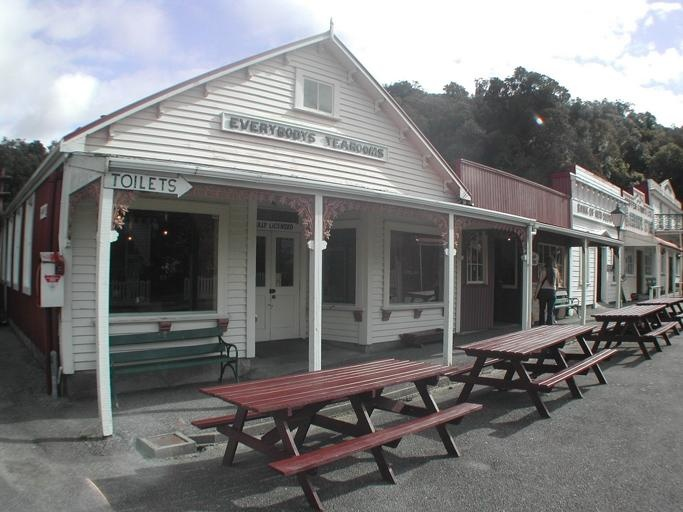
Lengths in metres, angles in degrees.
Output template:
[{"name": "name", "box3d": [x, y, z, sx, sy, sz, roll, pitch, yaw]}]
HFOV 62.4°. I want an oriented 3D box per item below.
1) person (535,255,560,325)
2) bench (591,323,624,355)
[{"name": "person", "box3d": [5.452, 0.888, 14.896, 0.552, 1.798, 1.040, -3, -4, 23]}, {"name": "bench", "box3d": [5.671, 1.740, 11.917, 0.349, 0.521, 0.813, -3, -6, 45]}]
